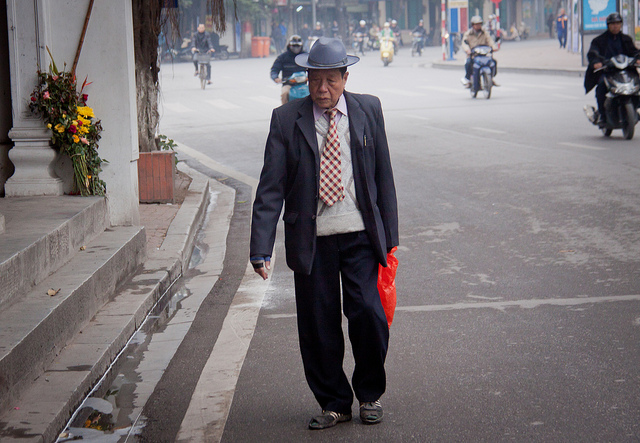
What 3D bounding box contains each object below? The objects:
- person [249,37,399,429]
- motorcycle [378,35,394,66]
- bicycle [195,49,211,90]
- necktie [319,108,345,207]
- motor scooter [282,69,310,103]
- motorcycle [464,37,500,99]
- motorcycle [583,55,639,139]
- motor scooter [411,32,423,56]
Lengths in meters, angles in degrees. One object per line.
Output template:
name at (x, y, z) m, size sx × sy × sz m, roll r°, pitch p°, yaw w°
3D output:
person at (0.037, 0.069, 3.696) m, size 0.876 × 2.311 × 0.698 m, roll 0°, pitch 14°, yaw 7°
motorcycle at (4.139, -10.506, 37.060) m, size 0.708 × 1.646 × 1.572 m, roll -1°, pitch 15°, yaw 5°
bicycle at (-5.274, -6.927, 27.220) m, size 0.551 × 1.763 × 1.069 m, roll -5°, pitch 15°, yaw -11°
necktie at (0.064, -0.398, 3.640) m, size 0.144 × 0.556 × 0.187 m, roll -2°, pitch 14°, yaw 2°
motor scooter at (-0.606, -3.257, 13.669) m, size 0.672 × 0.418 × 0.443 m, roll -10°, pitch 0°, yaw -34°
motorcycle at (5.301, -4.924, 19.576) m, size 0.827 × 1.710 × 1.189 m, roll 2°, pitch 15°, yaw 14°
motorcycle at (5.810, -2.443, 11.821) m, size 0.829 × 1.622 × 0.658 m, roll 8°, pitch 17°, yaw 33°
motor scooter at (7.522, -13.664, 46.164) m, size 0.716 × 1.693 × 1.347 m, roll 0°, pitch 15°, yaw 9°
